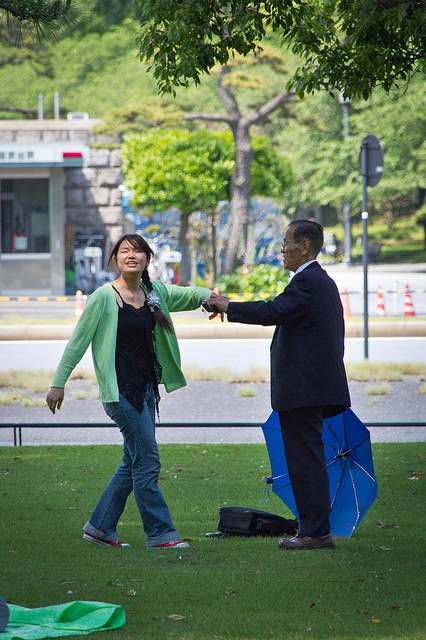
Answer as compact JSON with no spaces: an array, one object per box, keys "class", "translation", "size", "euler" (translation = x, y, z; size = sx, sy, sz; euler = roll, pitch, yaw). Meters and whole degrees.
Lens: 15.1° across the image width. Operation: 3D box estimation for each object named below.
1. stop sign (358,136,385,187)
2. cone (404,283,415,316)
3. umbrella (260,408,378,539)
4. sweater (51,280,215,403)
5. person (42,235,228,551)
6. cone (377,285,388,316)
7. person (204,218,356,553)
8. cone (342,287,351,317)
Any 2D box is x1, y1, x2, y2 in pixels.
[{"class":"stop sign","translation":[1.656,-1.690,16.878],"size":[0.225,0.443,0.436],"euler":[-2,0,6]},{"class":"cone","translation":[2.491,-0.249,20.554],"size":[0.126,0.318,0.604],"euler":[-2,0,7]},{"class":"umbrella","translation":[0.768,1.080,11.419],"size":[0.831,0.777,0.243],"euler":[-2,0,30]},{"class":"sweater","translation":[-0.577,0.133,11.283],"size":[1.167,0.773,0.336],"euler":[-3,1,-33]},{"class":"person","translation":[-0.616,0.489,11.342],"size":[0.909,1.983,0.663],"euler":[-2,0,5]},{"class":"cone","translation":[2.174,-0.209,20.766],"size":[0.125,0.296,0.339],"euler":[-2,0,10]},{"class":"person","translation":[0.590,0.435,11.135],"size":[0.688,1.960,0.412],"euler":[-1,0,4]},{"class":"cone","translation":[1.748,-0.246,21.077],"size":[0.093,0.325,0.373],"euler":[-1,0,5]}]
